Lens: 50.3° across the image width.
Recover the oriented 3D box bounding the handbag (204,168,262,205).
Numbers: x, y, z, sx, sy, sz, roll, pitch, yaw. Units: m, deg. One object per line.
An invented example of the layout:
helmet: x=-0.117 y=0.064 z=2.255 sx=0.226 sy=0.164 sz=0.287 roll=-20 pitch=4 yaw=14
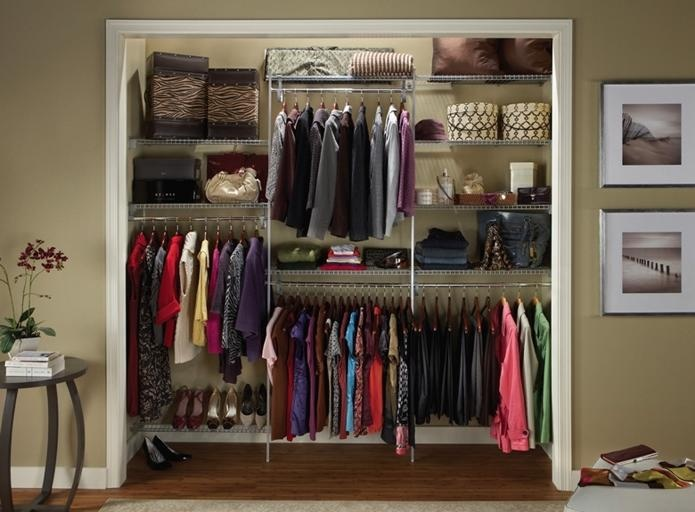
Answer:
handbag: x=-0.821 y=-0.498 z=5.349 sx=0.298 sy=0.147 sz=0.267 roll=3 pitch=30 yaw=2

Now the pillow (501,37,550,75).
pillow: x=1.265 y=-1.421 z=5.256 sx=0.246 sy=0.318 sz=0.092 roll=11 pitch=33 yaw=27

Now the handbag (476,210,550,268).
handbag: x=1.298 y=-0.107 z=5.428 sx=0.392 sy=0.459 sz=0.100 roll=0 pitch=-2 yaw=16

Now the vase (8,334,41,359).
vase: x=-2.011 y=0.566 z=4.612 sx=0.161 sy=0.121 sz=0.115 roll=-5 pitch=4 yaw=-33

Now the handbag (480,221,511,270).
handbag: x=1.058 y=-0.079 z=5.295 sx=0.210 sy=0.344 sz=0.171 roll=4 pitch=26 yaw=16
